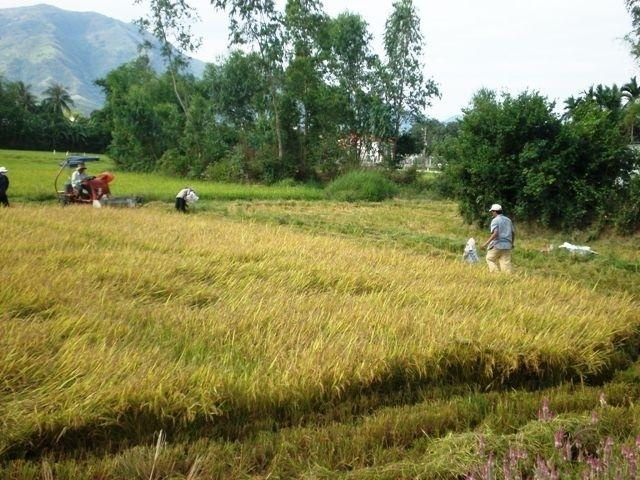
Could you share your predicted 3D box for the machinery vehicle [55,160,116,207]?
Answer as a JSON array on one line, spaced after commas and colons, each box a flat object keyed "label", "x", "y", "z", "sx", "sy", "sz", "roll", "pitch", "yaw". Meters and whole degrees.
[{"label": "machinery vehicle", "x": -8.553, "y": -1.809, "z": 24.309, "sx": 1.784, "sy": 2.414, "sz": 1.569, "roll": 0, "pitch": -15, "yaw": -30}]

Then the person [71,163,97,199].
[{"label": "person", "x": -8.361, "y": -2.097, "z": 23.933, "sx": 0.753, "sy": 1.216, "sz": 0.949, "roll": 2, "pitch": 7, "yaw": -22}]

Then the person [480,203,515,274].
[{"label": "person", "x": 4.696, "y": -0.026, "z": 17.914, "sx": 0.756, "sy": 1.716, "sz": 1.979, "roll": 6, "pitch": 7, "yaw": 16}]
